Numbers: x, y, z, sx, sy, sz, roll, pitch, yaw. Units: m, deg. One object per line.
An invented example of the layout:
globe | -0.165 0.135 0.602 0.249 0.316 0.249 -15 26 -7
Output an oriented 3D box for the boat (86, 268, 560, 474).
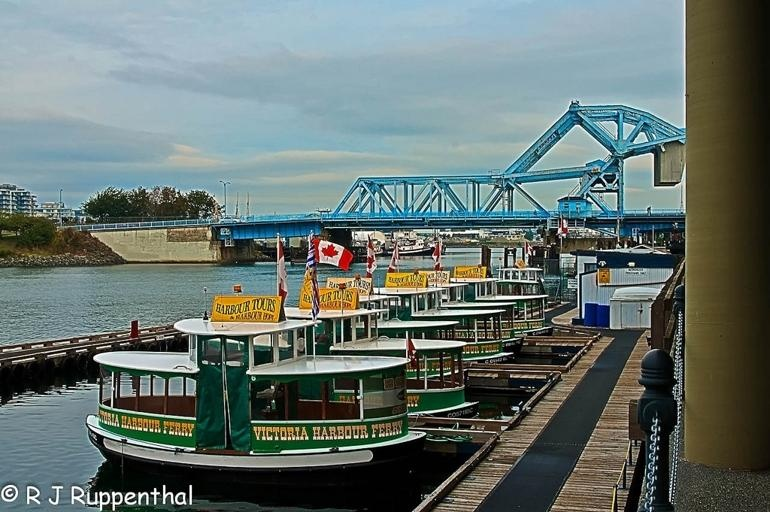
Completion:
boat | -3.067 2.957 22.796 7.500 3.953 2.652 -1 3 8
